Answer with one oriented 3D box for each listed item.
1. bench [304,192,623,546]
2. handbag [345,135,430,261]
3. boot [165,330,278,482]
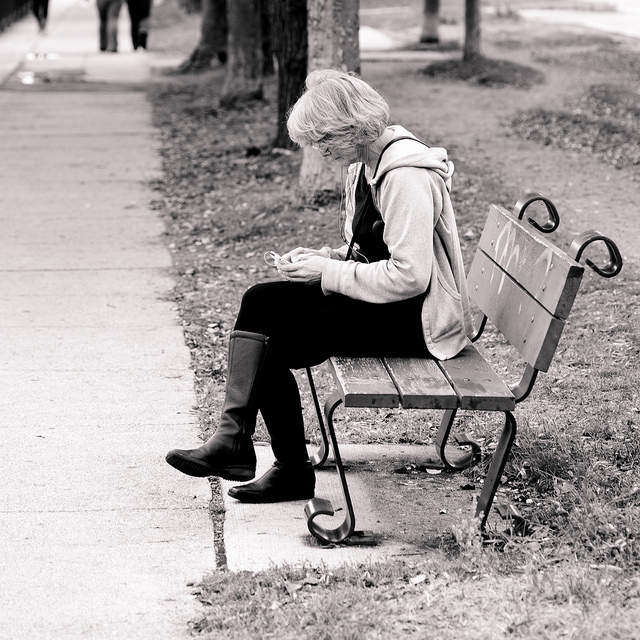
[{"bbox_3d":[0.541,0.127,4.954,1.257,1.301,1.650,1,12,-8],"label":"bench"},{"bbox_3d":[0.273,-0.487,4.620,0.101,0.523,0.270,17,7,-28],"label":"handbag"},{"bbox_3d":[-0.367,0.351,4.366,0.234,0.547,0.438,13,25,29],"label":"boot"}]
